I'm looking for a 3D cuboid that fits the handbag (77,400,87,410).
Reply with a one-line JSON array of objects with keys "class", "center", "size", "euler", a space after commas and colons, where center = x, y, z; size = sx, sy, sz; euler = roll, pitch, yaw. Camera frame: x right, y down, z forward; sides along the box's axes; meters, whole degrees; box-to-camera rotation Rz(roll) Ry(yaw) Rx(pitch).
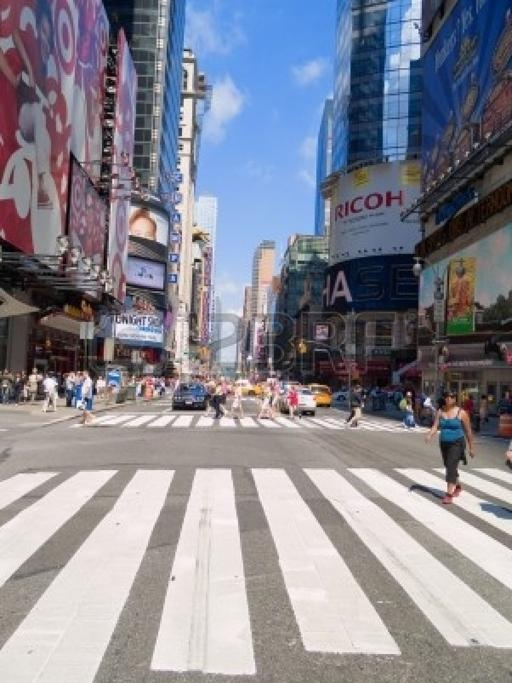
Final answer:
[{"class": "handbag", "center": [-5.897, 2.139, 20.607], "size": [0.281, 0.480, 0.633], "euler": [6, -4, -10]}]
